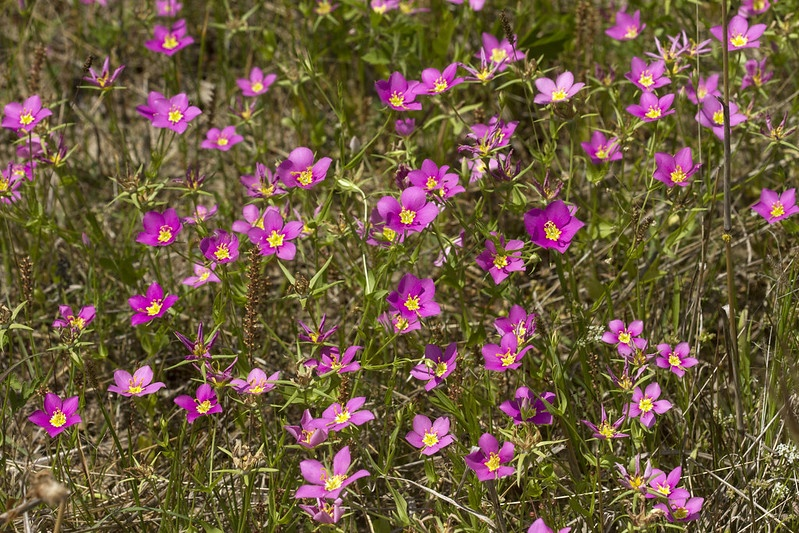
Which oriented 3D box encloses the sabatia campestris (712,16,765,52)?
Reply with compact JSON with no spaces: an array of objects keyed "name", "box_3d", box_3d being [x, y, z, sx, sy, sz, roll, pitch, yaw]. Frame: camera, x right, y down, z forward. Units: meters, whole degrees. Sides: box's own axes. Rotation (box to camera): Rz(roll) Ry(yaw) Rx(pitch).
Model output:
[{"name":"sabatia campestris","box_3d":[1.852,-1.251,4.343,0.258,0.321,0.123,10,85,12]}]
